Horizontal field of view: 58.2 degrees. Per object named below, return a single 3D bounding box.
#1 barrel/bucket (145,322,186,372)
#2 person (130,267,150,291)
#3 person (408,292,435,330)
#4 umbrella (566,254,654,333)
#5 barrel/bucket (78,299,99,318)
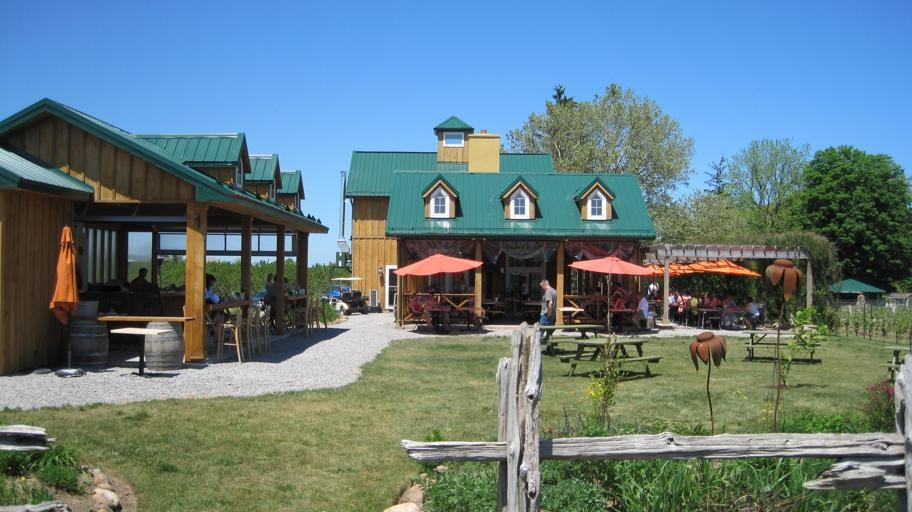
[{"bbox_3d":[-8.773,2.731,24.662,1.078,1.359,0.494,-3,12,-19],"label":"barrel/bucket"},{"bbox_3d":[-11.723,0.866,30.435,0.604,0.789,1.389,-3,12,-22],"label":"person"},{"bbox_3d":[-1.517,2.168,35.213,0.953,1.510,1.357,-11,-4,22],"label":"person"},{"bbox_3d":[6.522,1.533,33.229,3.320,2.759,3.266,-1,1,-15],"label":"umbrella"},{"bbox_3d":[-11.119,1.595,24.802,0.512,0.386,0.499,3,-3,0],"label":"barrel/bucket"}]
